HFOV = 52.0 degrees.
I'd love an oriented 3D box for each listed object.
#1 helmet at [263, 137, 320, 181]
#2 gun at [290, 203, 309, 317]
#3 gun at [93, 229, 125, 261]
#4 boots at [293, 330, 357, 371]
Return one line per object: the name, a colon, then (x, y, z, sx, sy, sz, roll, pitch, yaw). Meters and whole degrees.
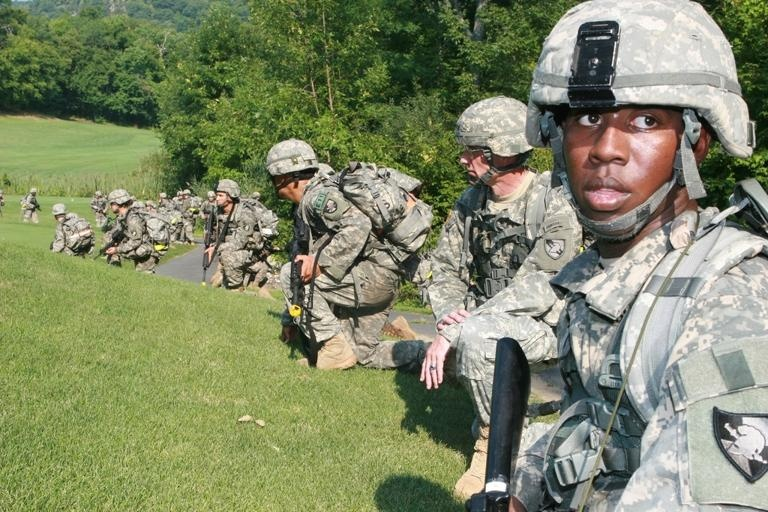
helmet: (-1.037, -1.095, 8.848, 0.482, 0.321, 0.452, -1, 14, 36)
gun: (-0.917, 0.043, 8.430, 0.192, 1.234, 0.446, 2, -15, -7)
gun: (-6.874, -0.245, 19.749, 0.196, 1.179, 0.547, 23, 33, -48)
boots: (-0.587, 1.077, 8.516, 0.488, 0.401, 0.193, -3, -9, -23)
